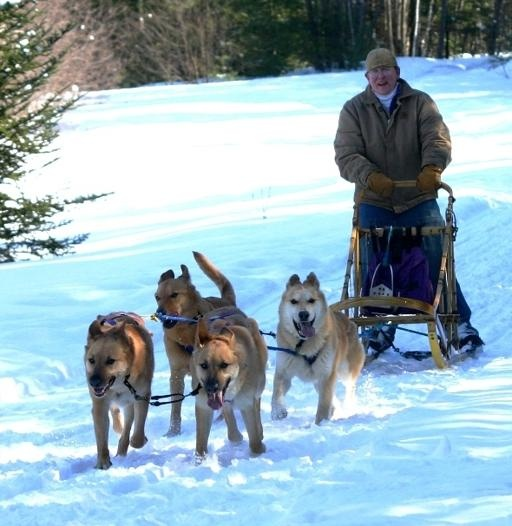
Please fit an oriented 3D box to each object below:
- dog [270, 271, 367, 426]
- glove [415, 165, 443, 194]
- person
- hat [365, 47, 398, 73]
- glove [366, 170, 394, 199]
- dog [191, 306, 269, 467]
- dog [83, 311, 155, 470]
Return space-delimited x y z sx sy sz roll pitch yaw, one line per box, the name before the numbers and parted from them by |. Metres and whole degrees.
dog | 0.492 0.688 8.267 0.603 1.232 1.135 -1 10 18
glove | 1.629 -0.779 8.728 0.183 0.256 0.114 0 -19 27
person | 1.465 -0.540 9.224 1.314 3.093 0.907 -3 10 6
hat | 1.224 -1.948 8.990 0.305 0.214 0.266 -3 9 6
glove | 1.203 -0.727 8.862 0.265 0.113 0.185 29 2 -42
dog | -0.209 1.031 7.660 0.512 1.093 1.735 -4 -2 6
dog | -1.106 0.969 7.461 0.445 1.106 1.040 -3 10 9
